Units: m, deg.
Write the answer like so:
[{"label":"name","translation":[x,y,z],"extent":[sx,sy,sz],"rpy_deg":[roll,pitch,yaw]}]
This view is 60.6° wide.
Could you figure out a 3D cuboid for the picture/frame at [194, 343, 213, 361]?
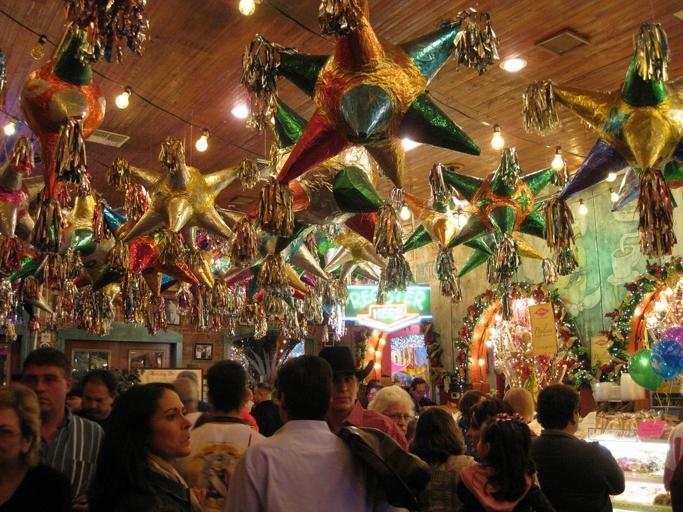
[{"label":"picture/frame","translation":[-3.239,2.227,13.574],"extent":[0.385,0.348,0.056],"rpy_deg":[5,-18,-28]}]

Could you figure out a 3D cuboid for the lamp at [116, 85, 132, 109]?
[{"label":"lamp","translation":[-2.349,-1.725,6.280],"extent":[0.111,0.247,0.117],"rpy_deg":[1,-56,-7]}]
